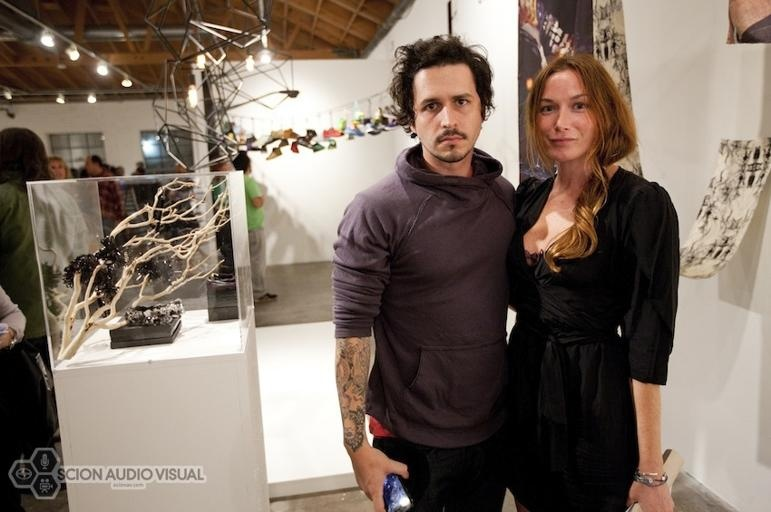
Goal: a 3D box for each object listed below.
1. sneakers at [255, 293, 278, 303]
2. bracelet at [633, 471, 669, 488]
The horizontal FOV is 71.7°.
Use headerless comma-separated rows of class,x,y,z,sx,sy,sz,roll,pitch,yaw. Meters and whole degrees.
sneakers,-1.488,0.522,6.724,0.269,0.115,0.090,-11,17,-33
bracelet,1.010,0.854,2.046,0.078,0.036,0.090,1,1,9
